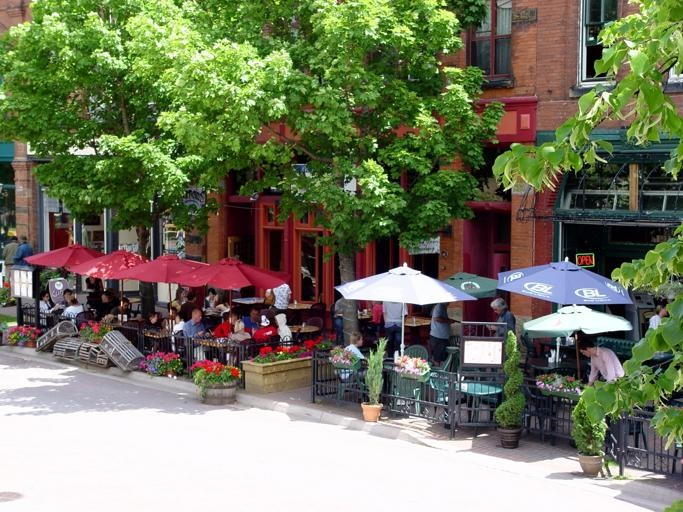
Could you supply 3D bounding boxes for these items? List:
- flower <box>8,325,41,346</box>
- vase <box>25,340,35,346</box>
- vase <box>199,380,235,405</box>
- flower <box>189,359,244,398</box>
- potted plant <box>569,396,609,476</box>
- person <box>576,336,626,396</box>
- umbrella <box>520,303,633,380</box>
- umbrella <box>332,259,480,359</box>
[{"bbox_3d":[-8.548,2.175,29.077,0.700,0.392,0.667,3,-1,17],"label":"flower"},{"bbox_3d":[-8.366,2.372,29.024,0.193,0.138,0.191,0,-7,6],"label":"vase"},{"bbox_3d":[-2.677,2.995,23.460,0.539,0.323,0.549,-1,-3,41],"label":"vase"},{"bbox_3d":[-2.793,2.699,23.649,0.826,0.598,0.833,2,-5,-6],"label":"flower"},{"bbox_3d":[4.408,3.257,19.115,0.567,1.204,0.513,0,0,13],"label":"potted plant"},{"bbox_3d":[4.907,2.063,20.469,0.986,0.812,0.909,0,0,43],"label":"person"},{"bbox_3d":[4.826,1.815,21.945,2.397,1.575,2.247,-4,0,-3],"label":"umbrella"},{"bbox_3d":[1.388,1.235,22.368,2.213,1.506,2.185,2,2,-29],"label":"umbrella"}]
